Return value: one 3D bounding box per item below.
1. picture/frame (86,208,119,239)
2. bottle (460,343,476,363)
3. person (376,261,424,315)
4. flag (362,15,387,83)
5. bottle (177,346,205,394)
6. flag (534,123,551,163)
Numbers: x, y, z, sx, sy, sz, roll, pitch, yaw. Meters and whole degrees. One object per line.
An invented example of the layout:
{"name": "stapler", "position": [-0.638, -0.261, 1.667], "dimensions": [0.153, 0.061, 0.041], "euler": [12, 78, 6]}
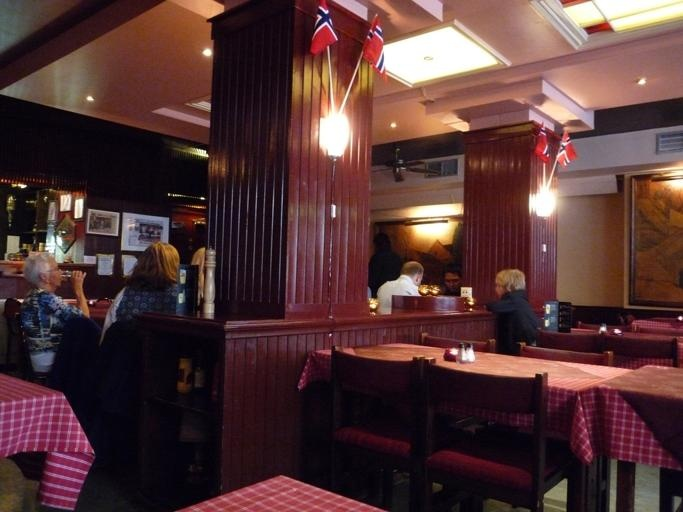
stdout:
{"name": "picture/frame", "position": [-3.905, -0.552, 9.463], "dimensions": [0.174, 0.432, 0.473], "euler": [1, 1, 33]}
{"name": "bottle", "position": [0.857, 0.671, 4.036], "dimensions": [0.138, 0.144, 0.083], "euler": [-1, -1, -39]}
{"name": "person", "position": [0.638, 0.355, 6.417], "dimensions": [0.352, 0.980, 0.311], "euler": [8, -1, 38]}
{"name": "flag", "position": [0.272, -1.722, 4.773], "dimensions": [0.171, 0.510, 0.395], "euler": [2, -1, 2]}
{"name": "bottle", "position": [-1.098, 0.860, 4.277], "dimensions": [0.197, 0.335, 0.310], "euler": [2, -4, -14]}
{"name": "flag", "position": [2.514, -1.420, 7.290], "dimensions": [0.175, 0.449, 0.765], "euler": [2, -1, 19]}
